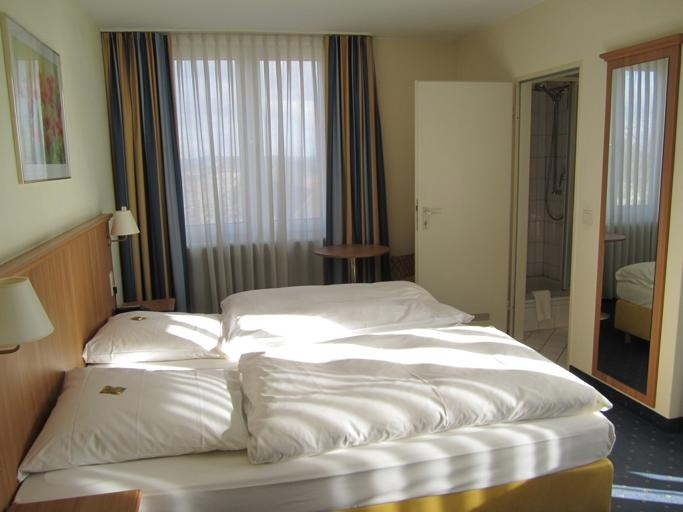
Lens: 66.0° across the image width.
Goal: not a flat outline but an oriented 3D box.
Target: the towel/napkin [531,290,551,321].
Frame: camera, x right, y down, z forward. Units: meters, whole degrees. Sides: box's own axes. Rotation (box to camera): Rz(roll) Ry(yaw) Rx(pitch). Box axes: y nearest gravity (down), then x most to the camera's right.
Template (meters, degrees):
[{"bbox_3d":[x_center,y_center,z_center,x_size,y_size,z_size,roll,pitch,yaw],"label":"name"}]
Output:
[{"bbox_3d":[2.021,0.504,5.299,0.187,0.279,0.080,-5,4,-7],"label":"towel/napkin"}]

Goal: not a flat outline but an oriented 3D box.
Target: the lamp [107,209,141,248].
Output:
[{"bbox_3d":[-1.763,-0.211,4.213,0.247,0.308,0.242,-8,20,-9],"label":"lamp"}]

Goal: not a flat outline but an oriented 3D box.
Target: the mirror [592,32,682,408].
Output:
[{"bbox_3d":[1.996,-0.201,3.642,0.099,2.429,0.600,-5,11,-22],"label":"mirror"}]

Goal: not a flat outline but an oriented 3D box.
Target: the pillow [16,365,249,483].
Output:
[{"bbox_3d":[-0.951,0.765,2.444,0.590,0.151,0.508,0,20,-17],"label":"pillow"}]
